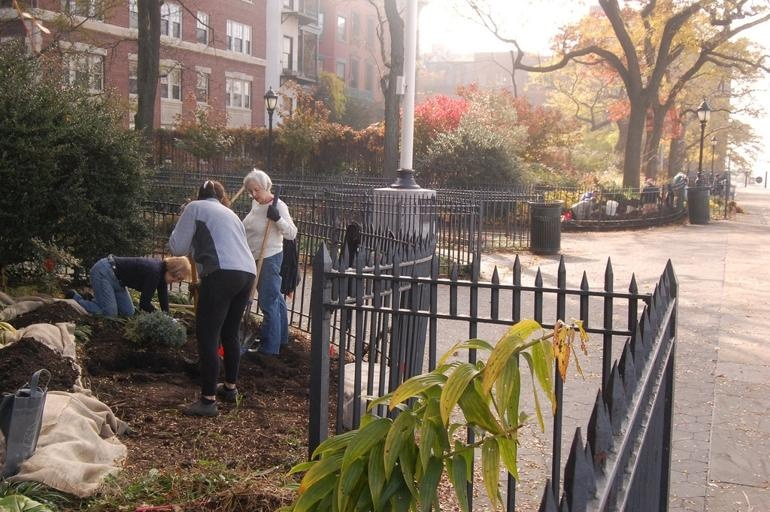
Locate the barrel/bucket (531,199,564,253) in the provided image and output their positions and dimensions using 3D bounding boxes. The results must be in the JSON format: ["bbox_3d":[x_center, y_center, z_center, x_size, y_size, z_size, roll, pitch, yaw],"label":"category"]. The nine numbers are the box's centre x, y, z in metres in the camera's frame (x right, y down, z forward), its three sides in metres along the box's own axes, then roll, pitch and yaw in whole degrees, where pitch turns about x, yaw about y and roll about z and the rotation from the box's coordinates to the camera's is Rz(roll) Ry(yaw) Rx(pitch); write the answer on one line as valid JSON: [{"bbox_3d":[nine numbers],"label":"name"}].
[{"bbox_3d":[4.138,-0.733,24.092,0.774,1.391,0.567,3,4,8],"label":"barrel/bucket"}]

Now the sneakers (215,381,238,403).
[{"bbox_3d":[-2.375,2.056,13.895,0.170,0.200,0.415,5,12,-42],"label":"sneakers"}]

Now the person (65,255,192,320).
[{"bbox_3d":[-4.277,0.566,15.278,1.917,1.271,0.757,4,-3,-4],"label":"person"}]

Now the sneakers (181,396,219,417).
[{"bbox_3d":[-2.698,2.222,13.569,0.533,0.271,0.225,5,3,-6],"label":"sneakers"}]

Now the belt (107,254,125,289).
[{"bbox_3d":[-4.387,0.251,15.084,0.276,0.497,0.176,2,4,-3],"label":"belt"}]

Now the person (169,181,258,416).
[{"bbox_3d":[-2.588,0.542,13.939,1.443,3.531,1.123,-3,-5,35],"label":"person"}]

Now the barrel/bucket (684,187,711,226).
[{"bbox_3d":[10.523,-1.728,31.757,1.015,1.640,1.083,-4,7,0],"label":"barrel/bucket"}]

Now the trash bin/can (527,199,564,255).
[{"bbox_3d":[4.142,-0.731,24.238,0.609,1.578,1.315,1,1,3],"label":"trash bin/can"}]

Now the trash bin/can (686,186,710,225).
[{"bbox_3d":[10.681,-1.814,31.979,0.751,1.262,0.775,-6,-1,-16],"label":"trash bin/can"}]

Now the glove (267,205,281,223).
[{"bbox_3d":[-1.797,-0.685,14.842,0.173,0.258,0.075,-12,-9,-45],"label":"glove"}]

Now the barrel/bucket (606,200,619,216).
[{"bbox_3d":[7.355,-1.590,30.437,0.446,0.711,0.432,0,7,0],"label":"barrel/bucket"}]
